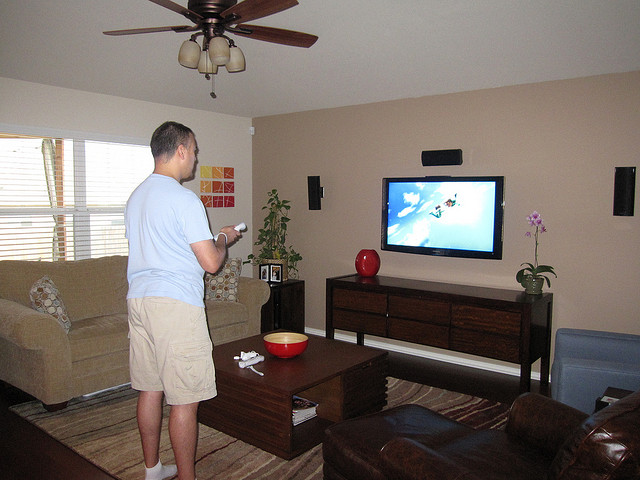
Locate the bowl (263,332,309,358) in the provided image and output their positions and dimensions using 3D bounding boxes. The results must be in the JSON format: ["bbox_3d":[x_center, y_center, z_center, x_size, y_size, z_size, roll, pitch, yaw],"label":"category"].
[{"bbox_3d":[-0.251,0.788,3.462,0.321,0.131,0.347,0,6,0],"label":"bowl"}]

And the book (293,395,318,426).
[{"bbox_3d":[-0.159,1.254,3.408,0.204,0.089,0.266,-6,1,-25],"label":"book"}]

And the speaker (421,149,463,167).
[{"bbox_3d":[1.265,-0.850,4.780,0.413,0.158,0.095,4,7,30],"label":"speaker"}]

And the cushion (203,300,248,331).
[{"bbox_3d":[-0.963,0.745,4.670,0.445,0.176,0.476,0,-1,32],"label":"cushion"}]

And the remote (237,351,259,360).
[{"bbox_3d":[-0.517,0.827,3.304,0.101,0.047,0.060,0,-4,-7],"label":"remote"}]

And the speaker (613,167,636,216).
[{"bbox_3d":[2.632,-0.414,3.972,0.161,0.412,0.057,4,7,29],"label":"speaker"}]

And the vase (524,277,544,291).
[{"bbox_3d":[1.903,0.393,4.101,0.129,0.111,0.119,11,-9,-41],"label":"vase"}]

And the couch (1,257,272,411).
[{"bbox_3d":[-1.487,0.717,3.391,0.535,0.613,1.217,1,1,35],"label":"couch"}]

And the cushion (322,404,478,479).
[{"bbox_3d":[0.372,1.034,2.463,0.464,0.180,0.481,-4,4,-31],"label":"cushion"}]

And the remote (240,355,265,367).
[{"bbox_3d":[-0.472,0.838,3.226,0.051,0.047,0.178,18,14,40],"label":"remote"}]

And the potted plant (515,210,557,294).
[{"bbox_3d":[1.999,0.105,4.221,0.344,0.737,0.390,4,7,27],"label":"potted plant"}]

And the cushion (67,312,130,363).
[{"bbox_3d":[-1.839,0.817,3.868,0.481,0.125,0.498,-1,6,-38],"label":"cushion"}]

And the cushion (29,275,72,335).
[{"bbox_3d":[-2.307,0.554,3.922,0.253,0.416,0.428,-5,8,-38],"label":"cushion"}]

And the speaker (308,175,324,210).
[{"bbox_3d":[-0.036,-0.584,5.692,0.245,0.428,0.199,-3,10,-7],"label":"speaker"}]

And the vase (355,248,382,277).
[{"bbox_3d":[0.525,0.248,5.032,0.271,0.339,0.275,-2,0,20],"label":"vase"}]
